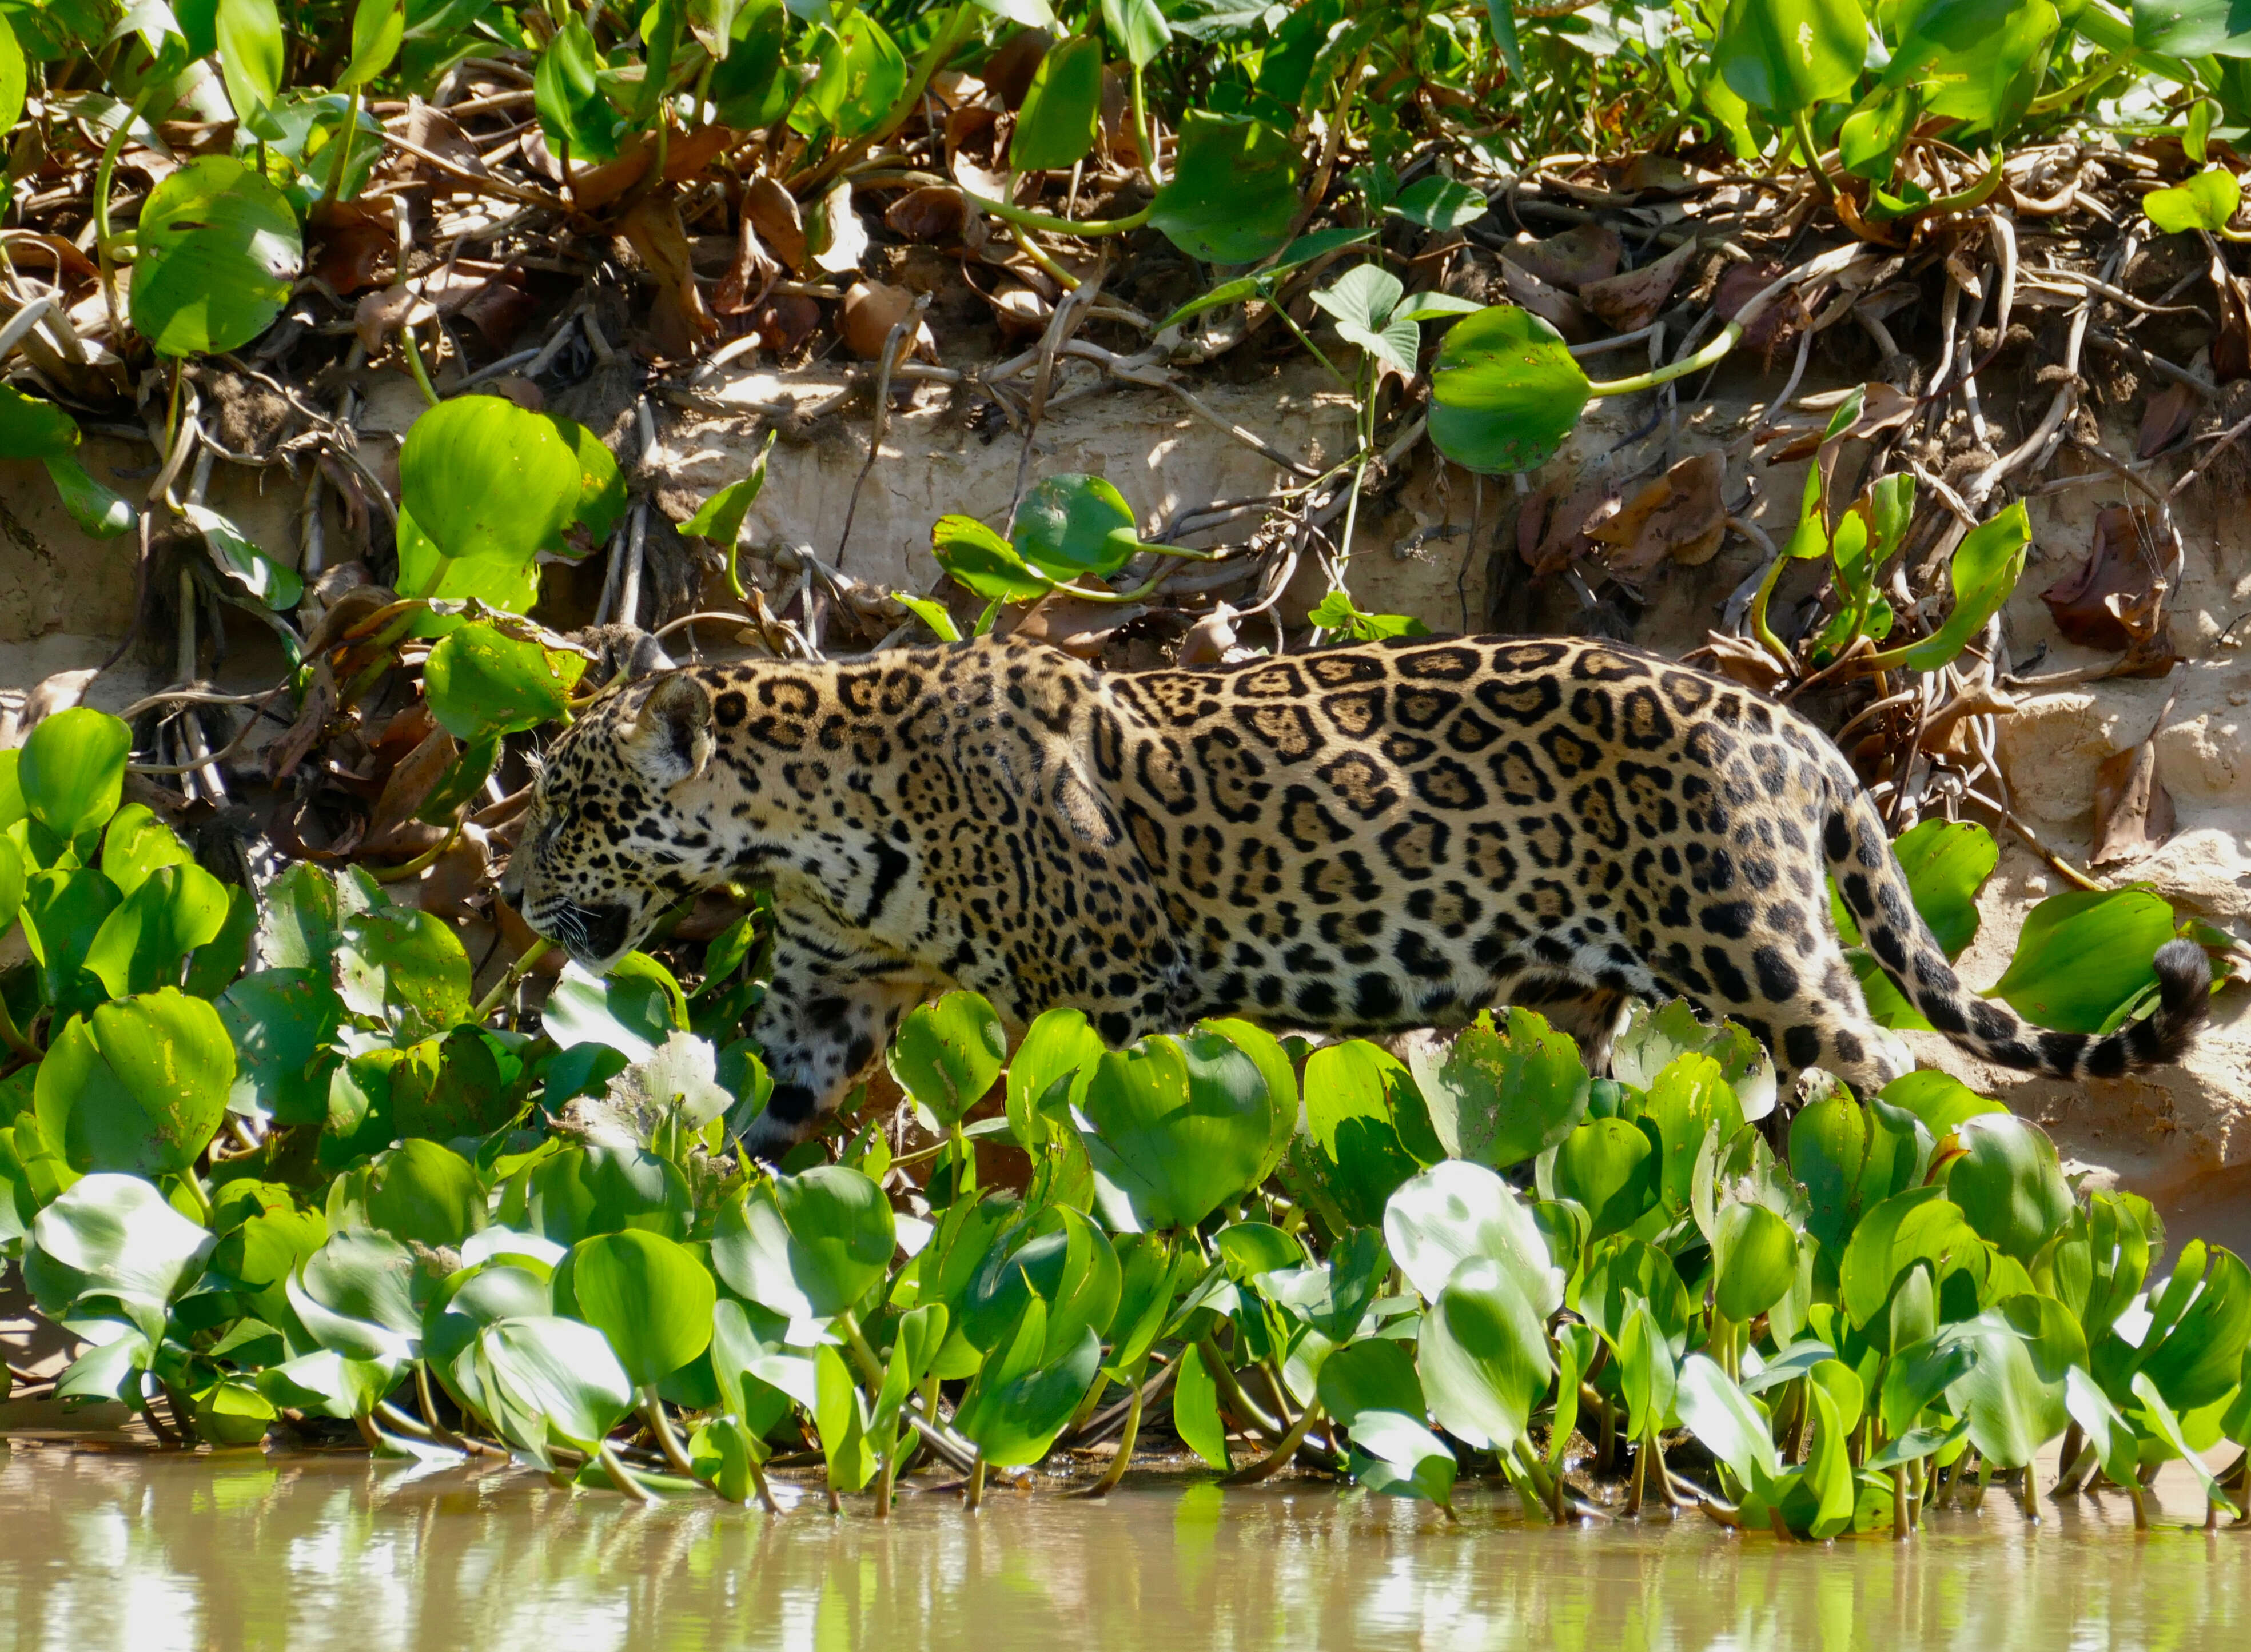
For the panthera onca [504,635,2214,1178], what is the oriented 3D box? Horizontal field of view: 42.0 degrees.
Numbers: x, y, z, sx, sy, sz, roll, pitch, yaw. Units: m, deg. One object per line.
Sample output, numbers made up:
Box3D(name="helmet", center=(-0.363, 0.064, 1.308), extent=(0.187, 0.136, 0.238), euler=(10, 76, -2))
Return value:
Box3D(name="panthera onca", center=(0.334, 0.172, 5.480), extent=(3.521, 0.729, 1.206), euler=(2, 78, 4))
